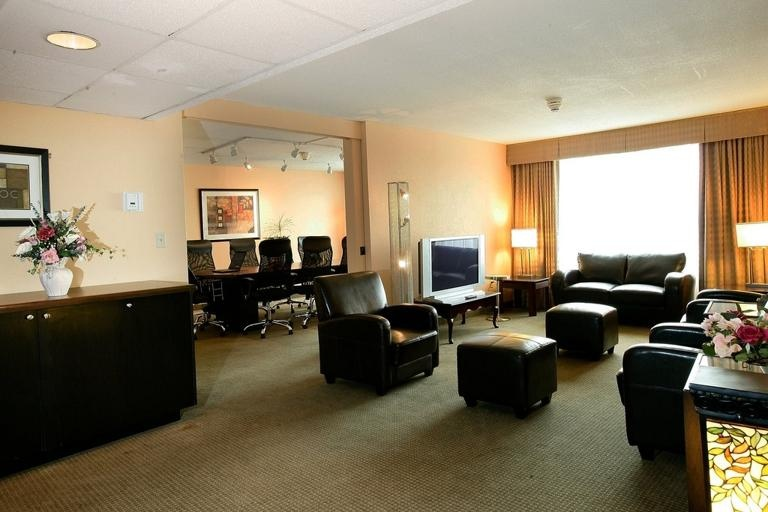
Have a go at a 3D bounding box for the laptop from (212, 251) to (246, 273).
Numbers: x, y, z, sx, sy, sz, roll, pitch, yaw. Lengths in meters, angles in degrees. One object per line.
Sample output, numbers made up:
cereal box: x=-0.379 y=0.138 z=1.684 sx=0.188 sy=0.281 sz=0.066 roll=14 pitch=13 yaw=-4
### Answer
laptop: x=-2.390 y=0.109 z=8.135 sx=0.421 sy=0.283 sz=0.413 roll=2 pitch=-4 yaw=-35

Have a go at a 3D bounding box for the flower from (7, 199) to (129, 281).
flower: x=-2.677 y=-0.147 z=4.391 sx=0.620 sy=0.450 sz=0.715 roll=2 pitch=-2 yaw=35

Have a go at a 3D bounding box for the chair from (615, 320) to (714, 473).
chair: x=2.243 y=1.021 z=3.943 sx=0.683 sy=0.796 sz=1.005 roll=-5 pitch=2 yaw=40

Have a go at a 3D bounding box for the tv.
tv: x=0.921 y=0.182 z=7.054 sx=1.038 sy=0.552 sz=0.166 roll=-3 pitch=7 yaw=-44

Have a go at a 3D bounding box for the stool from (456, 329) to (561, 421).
stool: x=1.160 y=1.057 z=4.754 sx=0.721 sy=0.602 sz=0.774 roll=0 pitch=2 yaw=42

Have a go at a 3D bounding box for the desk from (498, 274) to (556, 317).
desk: x=2.218 y=0.616 z=8.278 sx=0.666 sy=0.468 sz=0.668 roll=0 pitch=0 yaw=41

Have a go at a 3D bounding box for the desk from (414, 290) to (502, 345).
desk: x=0.880 y=0.925 z=6.957 sx=1.140 sy=0.462 sz=0.645 roll=-4 pitch=6 yaw=-42

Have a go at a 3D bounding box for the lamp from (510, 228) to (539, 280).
lamp: x=2.401 y=-0.058 z=8.753 sx=0.434 sy=0.869 sz=0.584 roll=1 pitch=11 yaw=16

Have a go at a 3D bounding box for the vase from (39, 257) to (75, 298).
vase: x=-2.617 y=0.156 z=4.119 sx=0.312 sy=0.341 sz=0.303 roll=-1 pitch=6 yaw=-33

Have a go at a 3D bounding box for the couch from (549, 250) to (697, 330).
couch: x=3.524 y=0.486 z=7.588 sx=1.862 sy=1.010 sz=1.024 roll=1 pitch=9 yaw=44

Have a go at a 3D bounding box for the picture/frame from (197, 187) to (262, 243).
picture/frame: x=-3.138 y=-0.835 z=10.237 sx=1.247 sy=0.985 sz=0.119 roll=-8 pitch=10 yaw=-39

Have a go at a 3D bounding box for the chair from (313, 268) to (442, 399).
chair: x=-0.107 y=0.730 z=5.304 sx=1.037 sy=1.059 sz=0.874 roll=5 pitch=13 yaw=35

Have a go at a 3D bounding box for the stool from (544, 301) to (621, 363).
stool: x=2.309 y=0.800 z=6.005 sx=0.725 sy=0.579 sz=0.714 roll=2 pitch=5 yaw=28
